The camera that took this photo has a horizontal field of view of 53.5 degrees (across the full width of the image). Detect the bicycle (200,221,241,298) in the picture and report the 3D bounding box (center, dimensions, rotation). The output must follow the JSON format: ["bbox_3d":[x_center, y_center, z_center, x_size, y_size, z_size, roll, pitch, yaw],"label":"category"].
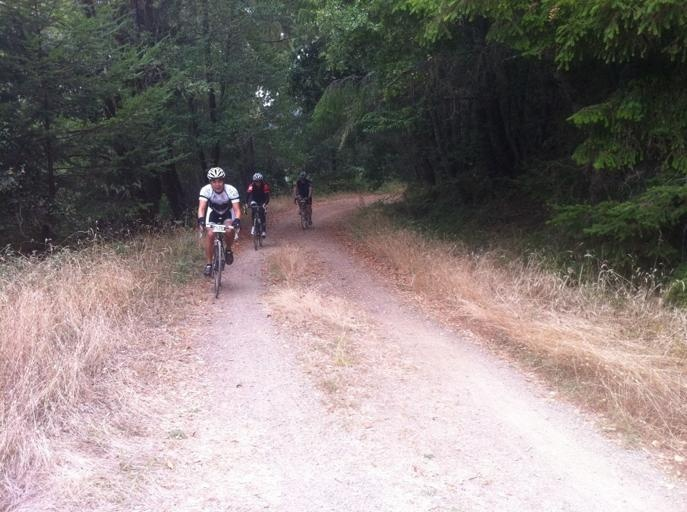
[{"bbox_3d":[-2.588,-0.046,14.579,0.540,1.530,1.132,-6,11,-10],"label":"bicycle"}]

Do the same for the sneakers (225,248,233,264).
[{"bbox_3d":[-2.453,-0.019,14.690,0.128,0.327,0.121,-9,-5,-18],"label":"sneakers"}]

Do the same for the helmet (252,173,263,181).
[{"bbox_3d":[-2.445,-2.322,19.795,0.275,0.163,0.443,2,32,2],"label":"helmet"}]
